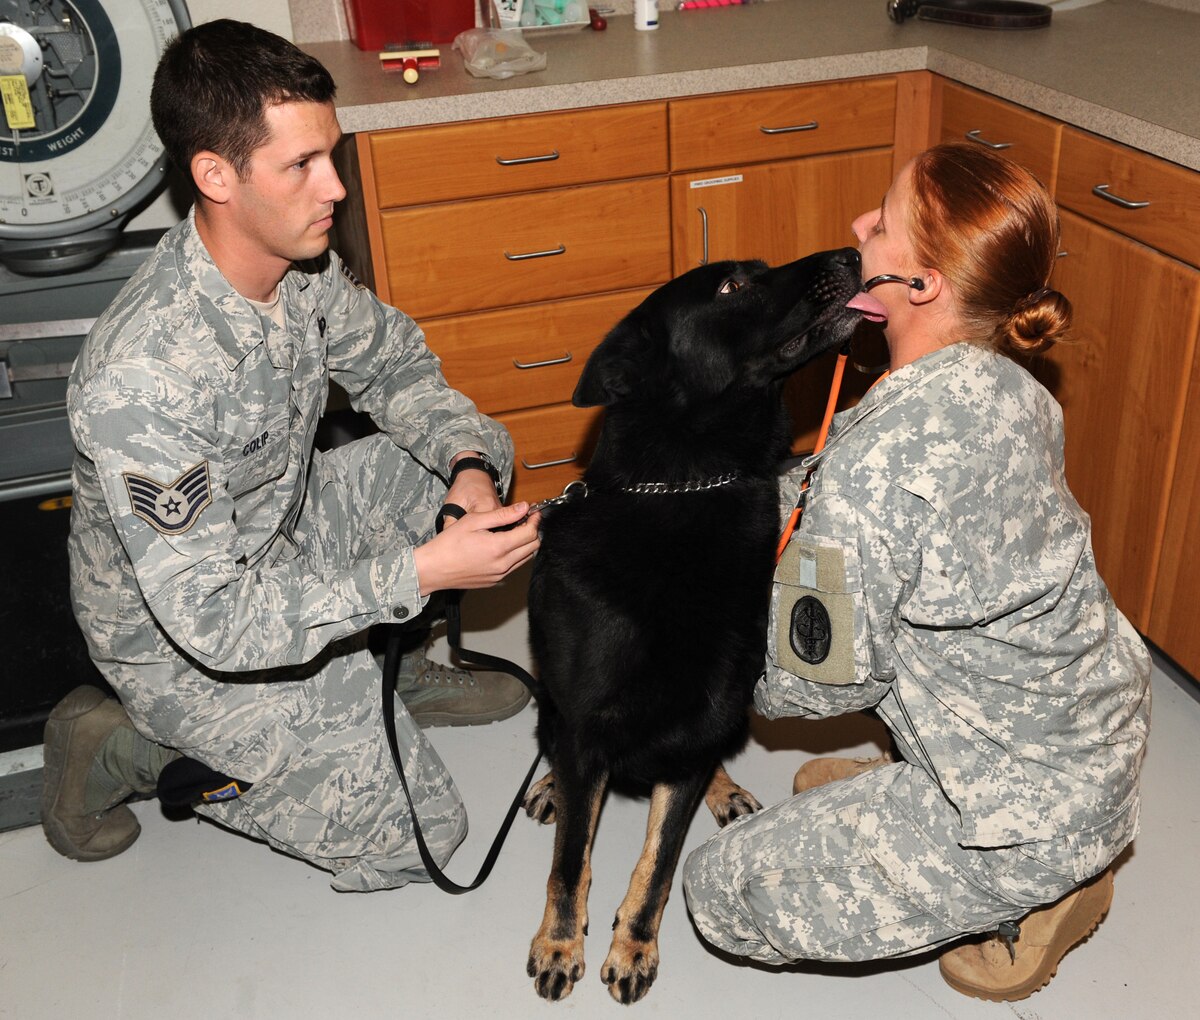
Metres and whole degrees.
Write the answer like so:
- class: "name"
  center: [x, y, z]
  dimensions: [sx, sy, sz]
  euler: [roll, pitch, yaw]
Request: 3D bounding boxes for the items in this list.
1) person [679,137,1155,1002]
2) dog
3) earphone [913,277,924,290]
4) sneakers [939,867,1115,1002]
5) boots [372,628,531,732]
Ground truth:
- class: "person"
  center: [0.521, 0.203, 1.603]
  dimensions: [0.662, 1.363, 0.566]
  euler: [-29, 37, -36]
- class: "dog"
  center: [0.019, 0.353, 1.916]
  dimensions: [0.436, 1.577, 0.685]
  euler: [9, 21, -17]
- class: "earphone"
  center: [0.466, -0.333, 1.517]
  dimensions: [0.021, 0.018, 0.010]
  euler: [12, 33, 27]
- class: "sneakers"
  center: [0.746, 0.737, 1.840]
  dimensions: [0.311, 0.131, 0.168]
  euler: [-33, 26, 6]
- class: "boots"
  center: [-0.365, 0.398, 2.529]
  dimensions: [0.365, 0.228, 0.139]
  euler: [-8, 52, -4]
